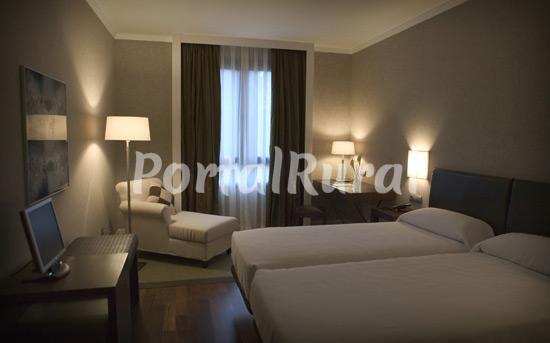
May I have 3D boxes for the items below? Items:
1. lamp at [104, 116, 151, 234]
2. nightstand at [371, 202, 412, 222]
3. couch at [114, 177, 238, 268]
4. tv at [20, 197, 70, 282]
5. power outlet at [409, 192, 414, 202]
[{"bbox_3d":[-2.117,0.017,5.631,0.569,1.609,0.825,-2,7,-22],"label":"lamp"},{"bbox_3d":[1.642,0.552,5.525,0.346,0.351,0.343,-7,12,-31],"label":"nightstand"},{"bbox_3d":[-1.348,0.670,5.735,1.588,1.004,1.020,2,7,17],"label":"couch"},{"bbox_3d":[-2.059,0.601,3.485,0.358,0.677,0.419,-4,8,-36],"label":"tv"},{"bbox_3d":[1.944,0.356,5.522,0.063,0.079,0.114,12,13,4],"label":"power outlet"}]
